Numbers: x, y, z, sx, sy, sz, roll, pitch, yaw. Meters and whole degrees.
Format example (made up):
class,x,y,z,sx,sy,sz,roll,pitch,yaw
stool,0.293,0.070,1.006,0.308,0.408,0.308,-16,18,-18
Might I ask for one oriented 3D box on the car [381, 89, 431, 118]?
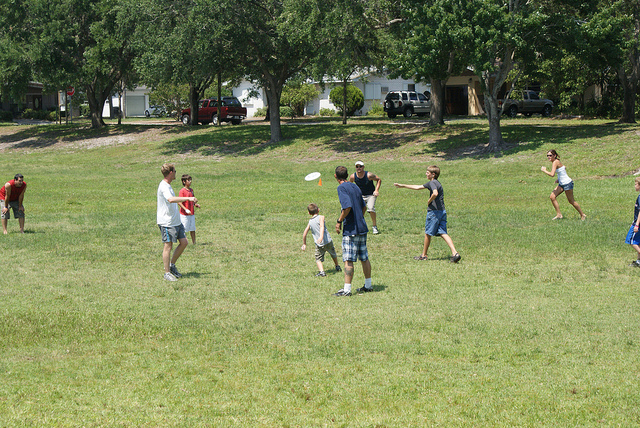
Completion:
class,x,y,z,sx,sy,sz,roll,pitch,yaw
car,6.841,-8.486,68.708,3.102,1.980,1.478,-9,15,-27

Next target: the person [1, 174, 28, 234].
class,x,y,z,sx,sy,sz,roll,pitch,yaw
person,-11.169,-0.397,32.090,0.929,2.087,0.858,-6,14,-18

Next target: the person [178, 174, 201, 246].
class,x,y,z,sx,sy,sz,roll,pitch,yaw
person,-4.526,-0.160,29.857,0.893,2.328,0.883,1,-1,-2

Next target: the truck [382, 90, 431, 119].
class,x,y,z,sx,sy,sz,roll,pitch,yaw
truck,7.283,-8.577,69.667,4.933,2.086,2.212,-7,10,-40

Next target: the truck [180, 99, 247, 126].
class,x,y,z,sx,sy,sz,roll,pitch,yaw
truck,-8.566,-7.904,69.692,5.107,1.762,2.134,5,8,34

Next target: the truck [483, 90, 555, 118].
class,x,y,z,sx,sy,sz,roll,pitch,yaw
truck,15.577,-8.163,66.274,3.103,1.985,3.850,5,15,27
